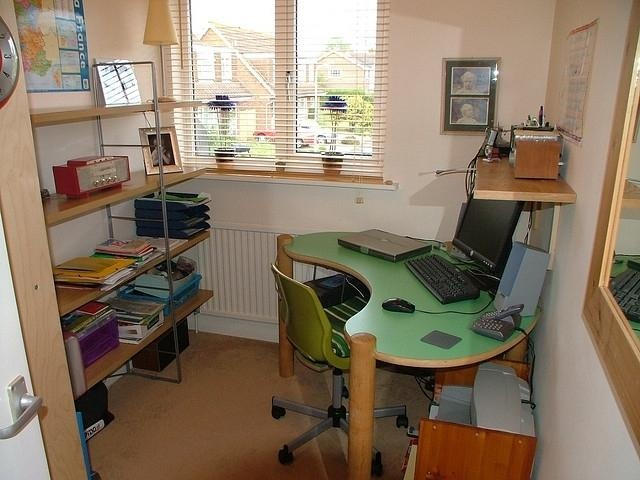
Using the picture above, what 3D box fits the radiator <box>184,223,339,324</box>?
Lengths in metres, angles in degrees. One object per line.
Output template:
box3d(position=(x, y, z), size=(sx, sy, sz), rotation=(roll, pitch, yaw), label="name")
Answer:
box3d(position=(-0.389, 0.197, 3.265), size=(0.721, 0.542, 0.053), rotation=(3, 11, 14), label="radiator")

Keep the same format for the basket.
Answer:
box3d(position=(-1.149, 0.333, 3.272), size=(0.312, 0.095, 0.317), rotation=(8, 13, 33), label="basket")

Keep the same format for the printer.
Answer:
box3d(position=(0.708, 0.711, 2.115), size=(0.345, 0.261, 0.350), rotation=(-1, 34, 13), label="printer")

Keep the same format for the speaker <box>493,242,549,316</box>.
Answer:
box3d(position=(0.921, 0.183, 2.185), size=(0.198, 0.327, 0.147), rotation=(11, 22, 26), label="speaker")

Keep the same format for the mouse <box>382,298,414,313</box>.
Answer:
box3d(position=(0.370, 0.295, 2.228), size=(0.116, 0.041, 0.069), rotation=(3, 26, 9), label="mouse")

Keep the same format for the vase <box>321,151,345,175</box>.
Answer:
box3d(position=(0.088, -0.539, 3.374), size=(0.174, 0.174, 0.141), rotation=(-1, 23, 0), label="vase")

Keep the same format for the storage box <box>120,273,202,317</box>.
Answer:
box3d(position=(-1.145, 0.340, 3.263), size=(0.304, 0.092, 0.310), rotation=(6, 14, 29), label="storage box")

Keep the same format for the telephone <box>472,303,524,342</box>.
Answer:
box3d(position=(0.791, 0.345, 2.124), size=(0.230, 0.127, 0.176), rotation=(-16, 18, -35), label="telephone")

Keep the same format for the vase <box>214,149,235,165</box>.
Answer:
box3d(position=(-0.706, -0.614, 3.498), size=(0.161, 0.112, 0.162), rotation=(0, 20, -4), label="vase")

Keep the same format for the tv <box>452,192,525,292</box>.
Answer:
box3d(position=(0.858, 0.020, 2.439), size=(0.143, 0.431, 0.441), rotation=(4, 14, -9), label="tv")
